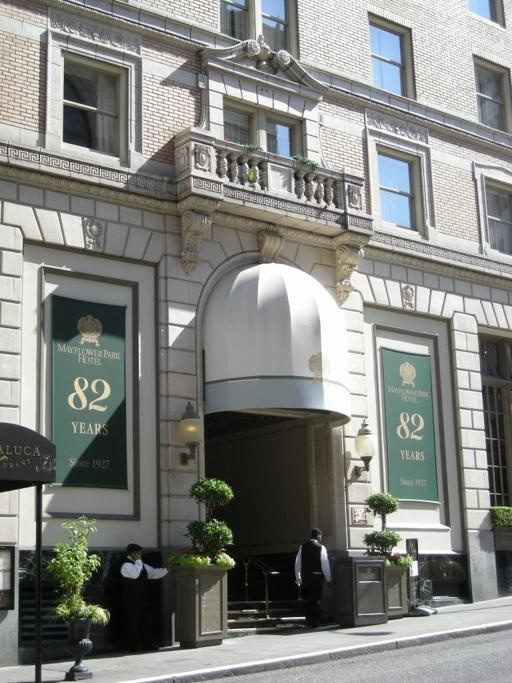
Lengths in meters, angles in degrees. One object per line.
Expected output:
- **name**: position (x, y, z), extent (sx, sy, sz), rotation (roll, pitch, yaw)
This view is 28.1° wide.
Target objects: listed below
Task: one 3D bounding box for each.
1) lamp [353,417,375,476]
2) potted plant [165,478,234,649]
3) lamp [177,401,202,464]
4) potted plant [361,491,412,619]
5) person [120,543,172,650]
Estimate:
- **lamp**: position (2.070, 2.033, 19.713), extent (0.491, 1.125, 0.404), rotation (1, -13, -22)
- **potted plant**: position (-0.853, 3.486, 16.171), extent (0.992, 2.564, 1.170), rotation (-2, -13, -4)
- **lamp**: position (-1.145, 1.563, 17.506), extent (0.402, 1.094, 0.472), rotation (-3, -13, 4)
- **potted plant**: position (2.375, 3.885, 19.087), extent (0.720, 1.899, 0.763), rotation (5, -14, -17)
- **person**: position (-1.779, 3.975, 15.874), extent (0.634, 1.603, 0.494), rotation (1, -13, -16)
